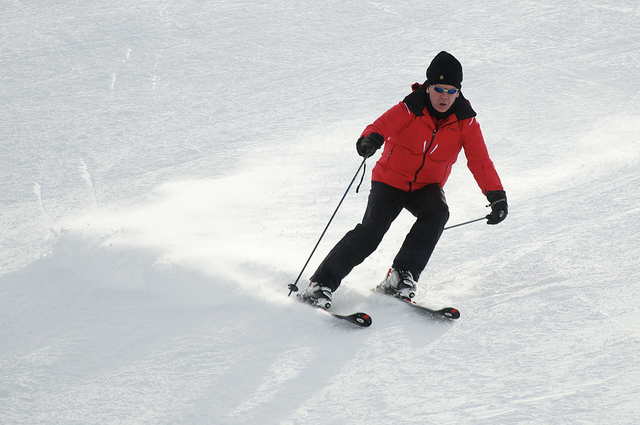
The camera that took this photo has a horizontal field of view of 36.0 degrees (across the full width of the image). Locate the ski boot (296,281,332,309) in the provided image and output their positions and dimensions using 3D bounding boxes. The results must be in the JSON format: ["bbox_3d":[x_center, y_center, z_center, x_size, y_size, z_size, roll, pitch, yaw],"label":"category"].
[{"bbox_3d":[-0.018,0.926,11.120,0.183,0.186,0.465,32,-4,-30],"label":"ski boot"}]

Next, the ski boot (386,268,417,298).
[{"bbox_3d":[0.955,0.784,11.232,0.191,0.271,0.362,-16,38,-31],"label":"ski boot"}]
